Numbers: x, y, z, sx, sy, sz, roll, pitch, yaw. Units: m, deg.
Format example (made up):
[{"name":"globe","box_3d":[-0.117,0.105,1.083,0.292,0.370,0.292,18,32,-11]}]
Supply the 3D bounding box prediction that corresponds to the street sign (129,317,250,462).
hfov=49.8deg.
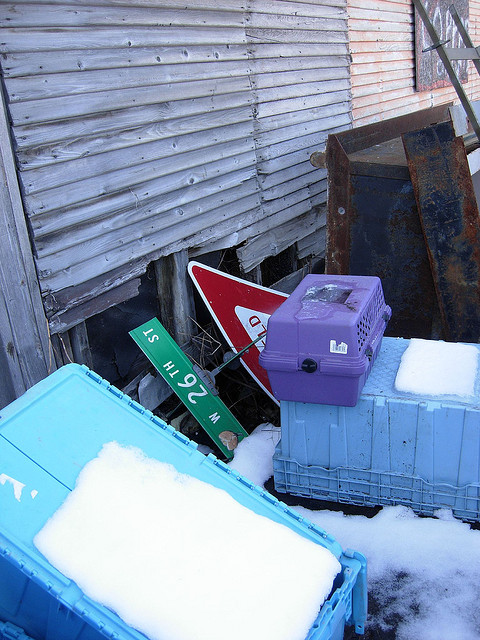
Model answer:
[{"name":"street sign","box_3d":[-0.312,0.447,3.443,0.235,1.081,0.025,-42,12,-30]}]

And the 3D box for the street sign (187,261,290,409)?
[{"name":"street sign","box_3d":[-0.012,-0.073,3.553,0.760,1.008,0.039,-52,12,3]}]
